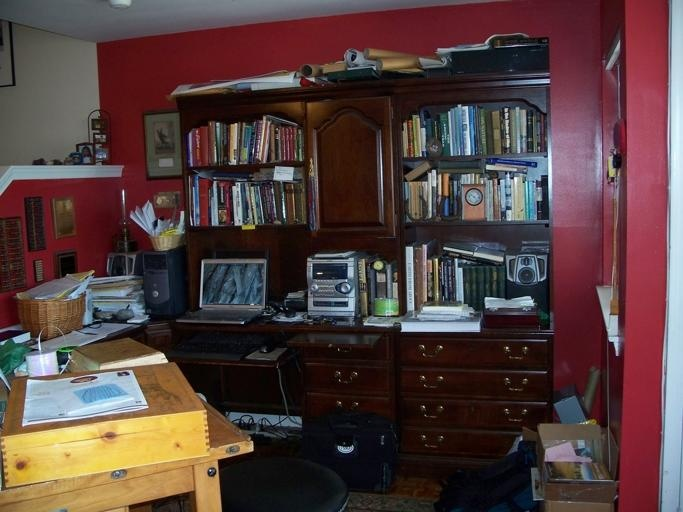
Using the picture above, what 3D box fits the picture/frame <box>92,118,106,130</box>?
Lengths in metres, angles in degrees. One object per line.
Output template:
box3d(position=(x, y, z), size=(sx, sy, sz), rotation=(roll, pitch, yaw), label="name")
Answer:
box3d(position=(-1.817, -0.996, 4.268), size=(0.097, 0.063, 0.051), rotation=(1, 0, 10), label="picture/frame")

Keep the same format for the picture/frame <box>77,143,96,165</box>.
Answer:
box3d(position=(-1.870, -0.754, 4.185), size=(0.117, 0.163, 0.248), rotation=(-3, 9, -40), label="picture/frame")

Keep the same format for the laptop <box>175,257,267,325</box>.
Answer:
box3d(position=(-0.742, 0.168, 3.552), size=(0.523, 0.359, 0.420), rotation=(1, 2, 13), label="laptop")

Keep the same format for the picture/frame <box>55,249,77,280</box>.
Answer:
box3d(position=(-1.869, 0.061, 3.853), size=(0.024, 0.199, 0.200), rotation=(2, 5, 26), label="picture/frame")

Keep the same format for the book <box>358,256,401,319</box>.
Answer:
box3d(position=(0.244, 0.208, 3.508), size=(0.365, 0.482, 0.309), rotation=(0, -1, 3), label="book")

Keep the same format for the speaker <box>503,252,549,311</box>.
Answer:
box3d(position=(1.166, 0.214, 3.409), size=(0.328, 0.426, 0.322), rotation=(-2, -3, 18), label="speaker")

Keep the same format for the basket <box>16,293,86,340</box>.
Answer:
box3d(position=(-1.747, 0.359, 3.463), size=(0.298, 0.221, 0.360), rotation=(5, 5, 17), label="basket")

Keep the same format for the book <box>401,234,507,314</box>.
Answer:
box3d(position=(0.712, 0.080, 3.480), size=(0.753, 0.523, 0.403), rotation=(0, 5, 11), label="book")

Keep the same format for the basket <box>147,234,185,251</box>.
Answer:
box3d(position=(-1.153, -0.095, 3.796), size=(0.159, 0.073, 0.131), rotation=(-3, 6, -14), label="basket")

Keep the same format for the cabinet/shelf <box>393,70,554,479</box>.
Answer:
box3d(position=(0.830, 0.165, 3.416), size=(1.026, 2.258, 0.685), rotation=(0, 8, 21), label="cabinet/shelf")

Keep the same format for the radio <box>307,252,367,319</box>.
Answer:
box3d(position=(-0.031, 0.142, 3.636), size=(0.305, 0.381, 0.412), rotation=(-1, 13, 5), label="radio")
